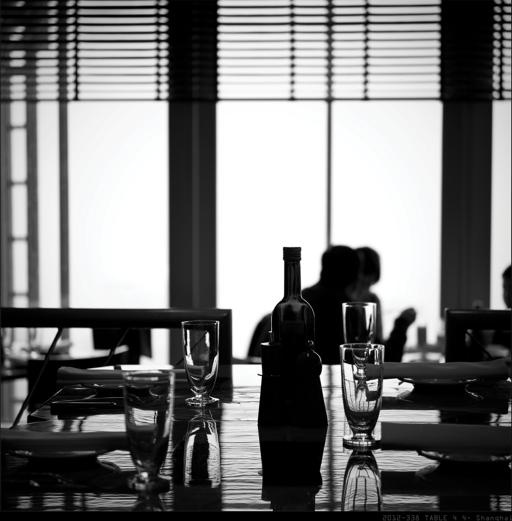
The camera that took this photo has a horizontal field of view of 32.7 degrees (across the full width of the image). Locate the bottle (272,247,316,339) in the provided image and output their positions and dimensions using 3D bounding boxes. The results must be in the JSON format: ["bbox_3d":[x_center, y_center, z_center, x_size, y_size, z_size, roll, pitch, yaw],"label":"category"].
[{"bbox_3d":[0.065,0.080,1.555,0.075,0.170,0.156,0,-31,2],"label":"bottle"}]
